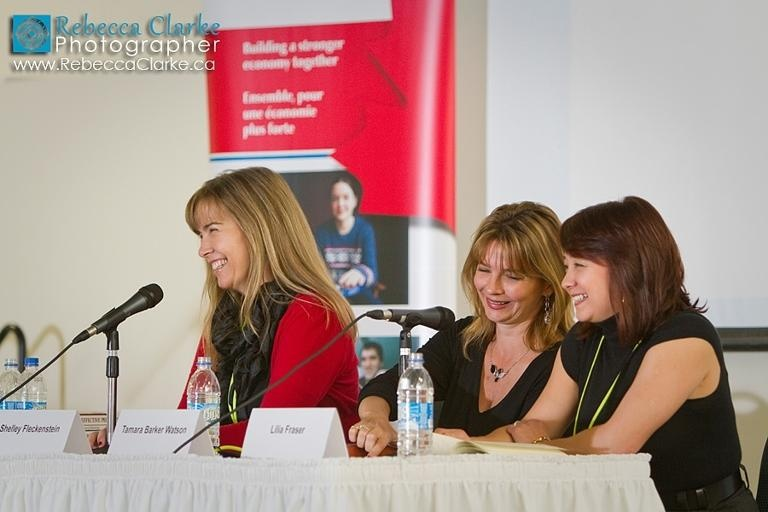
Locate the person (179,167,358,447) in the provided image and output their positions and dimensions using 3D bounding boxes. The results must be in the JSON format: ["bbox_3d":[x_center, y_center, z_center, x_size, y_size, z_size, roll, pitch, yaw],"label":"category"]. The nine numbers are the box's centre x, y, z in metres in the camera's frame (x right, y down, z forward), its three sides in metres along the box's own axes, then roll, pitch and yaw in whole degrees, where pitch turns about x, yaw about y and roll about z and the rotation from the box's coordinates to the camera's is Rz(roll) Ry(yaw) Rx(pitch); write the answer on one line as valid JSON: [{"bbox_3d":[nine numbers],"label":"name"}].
[{"bbox_3d":[-0.620,0.424,4.679,1.025,1.746,1.228,2,-13,-15],"label":"person"}]

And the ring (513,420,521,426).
[{"bbox_3d":[0.597,0.758,3.769,0.032,0.009,0.036,-24,-2,4],"label":"ring"}]

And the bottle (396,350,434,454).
[{"bbox_3d":[0.119,0.576,3.230,0.130,0.389,0.185,1,2,1],"label":"bottle"}]

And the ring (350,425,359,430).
[{"bbox_3d":[-0.118,0.719,3.498,0.018,0.012,0.027,1,4,13],"label":"ring"}]

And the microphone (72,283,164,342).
[{"bbox_3d":[-1.492,0.332,4.739,0.494,0.130,0.125,-31,4,-20],"label":"microphone"}]
